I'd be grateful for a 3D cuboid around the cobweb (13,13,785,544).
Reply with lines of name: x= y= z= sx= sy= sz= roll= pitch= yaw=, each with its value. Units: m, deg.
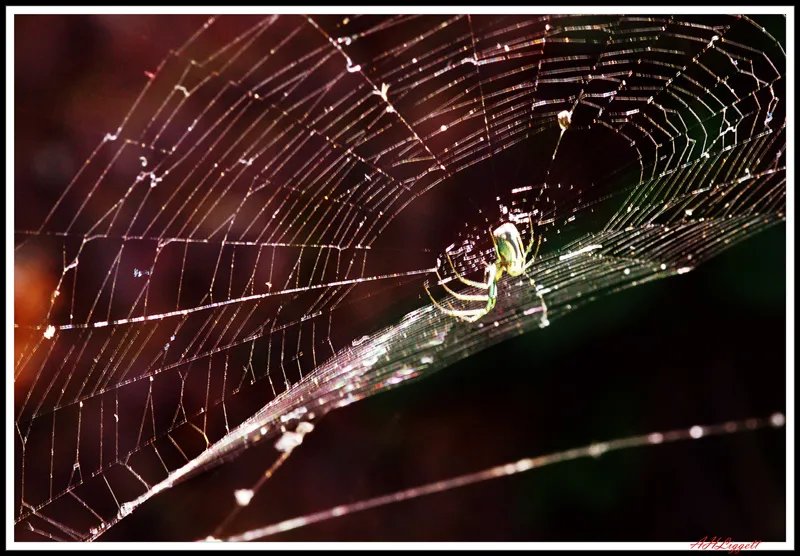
cobweb: x=-0.077 y=0.037 z=2.744 sx=1.874 sy=0.027 sz=1.953 roll=-8 pitch=-80 yaw=-15
